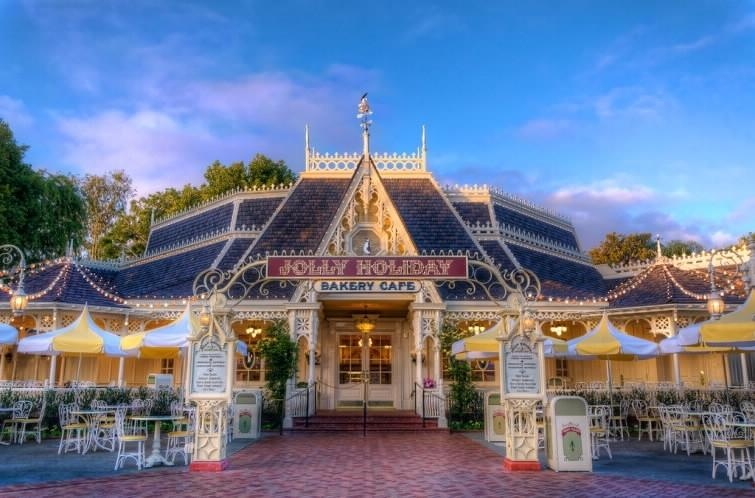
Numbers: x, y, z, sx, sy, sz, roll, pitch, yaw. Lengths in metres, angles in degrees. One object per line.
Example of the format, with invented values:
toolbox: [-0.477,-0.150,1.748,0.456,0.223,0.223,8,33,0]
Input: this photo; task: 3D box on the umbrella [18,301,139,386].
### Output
umbrella: [-10.452,3.187,22.747,2.817,2.088,2.972,-10,-13,39]

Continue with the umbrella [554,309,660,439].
umbrella: [8.231,4.052,23.575,3.825,3.814,3.674,-1,-11,7]

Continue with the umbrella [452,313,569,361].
umbrella: [4.440,3.007,22.857,2.885,1.224,2.610,0,-12,-2]
